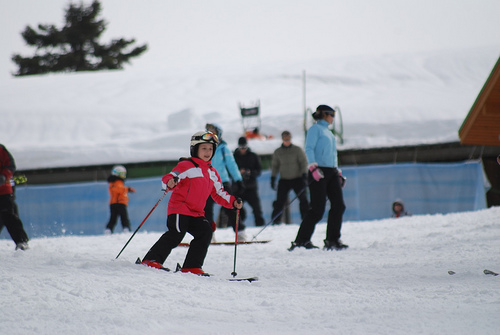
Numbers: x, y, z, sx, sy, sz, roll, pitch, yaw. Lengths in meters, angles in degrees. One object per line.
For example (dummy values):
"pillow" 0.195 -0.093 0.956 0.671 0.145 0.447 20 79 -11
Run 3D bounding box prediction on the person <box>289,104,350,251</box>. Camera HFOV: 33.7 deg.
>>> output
"person" 1.430 0.206 16.815 1.040 2.932 0.596 -4 3 3

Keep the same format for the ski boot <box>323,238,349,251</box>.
"ski boot" 1.748 1.531 16.686 0.518 0.254 0.177 -2 5 -5

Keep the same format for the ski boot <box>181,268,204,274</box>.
"ski boot" -1.059 1.841 15.055 0.415 0.177 0.142 -2 -2 3

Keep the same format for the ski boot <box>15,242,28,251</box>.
"ski boot" -4.747 1.572 16.907 0.301 0.119 0.212 -4 2 -1

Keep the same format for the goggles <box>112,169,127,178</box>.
"goggles" -3.326 0.126 20.776 0.215 0.092 0.180 25 2 1

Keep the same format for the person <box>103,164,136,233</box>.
"person" -3.318 0.762 20.640 0.800 1.125 1.340 -4 2 -9

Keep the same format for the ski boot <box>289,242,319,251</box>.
"ski boot" 1.094 1.549 16.759 0.604 0.154 0.131 -4 2 -4

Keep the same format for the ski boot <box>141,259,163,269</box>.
"ski boot" -1.787 1.695 14.997 0.397 0.172 0.135 19 10 2

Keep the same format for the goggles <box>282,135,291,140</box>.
"goggles" 0.868 -0.714 19.464 0.116 0.086 0.113 -1 11 -17

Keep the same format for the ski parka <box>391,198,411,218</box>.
"ski parka" 3.709 1.024 20.149 0.568 0.691 0.395 -3 -6 -9
